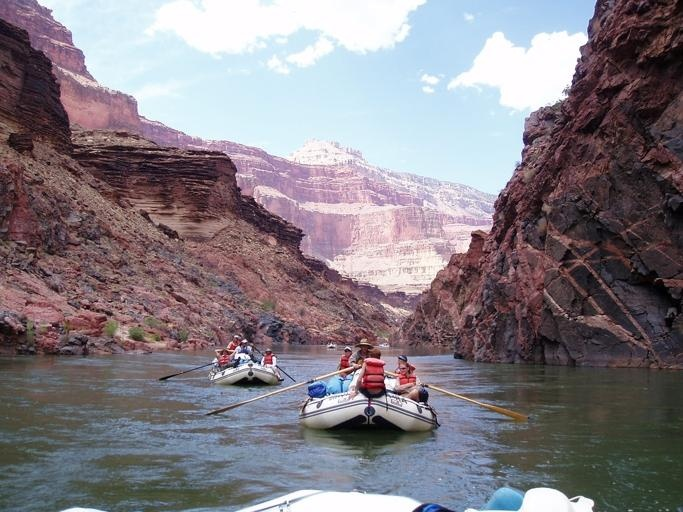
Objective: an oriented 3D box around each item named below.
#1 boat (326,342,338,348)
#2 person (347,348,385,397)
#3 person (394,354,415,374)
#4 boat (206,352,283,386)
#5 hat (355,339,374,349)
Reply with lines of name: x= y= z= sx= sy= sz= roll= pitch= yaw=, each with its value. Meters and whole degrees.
boat: x=-1.459 y=13.040 z=77.345 sx=1.029 sy=0.650 sz=3.231 roll=-2 pitch=-11 yaw=4
person: x=0.787 y=3.179 z=14.128 sx=0.980 sy=1.102 sz=1.186 roll=9 pitch=-31 yaw=-9
person: x=1.963 y=3.367 z=16.386 sx=0.766 sy=0.467 sz=1.027 roll=-11 pitch=-20 yaw=30
boat: x=-4.609 y=5.328 z=24.757 sx=2.590 sy=0.883 sz=4.222 roll=2 pitch=-12 yaw=-6
hat: x=0.676 y=2.472 z=15.522 sx=0.568 sy=0.162 sz=0.486 roll=2 pitch=-30 yaw=4
